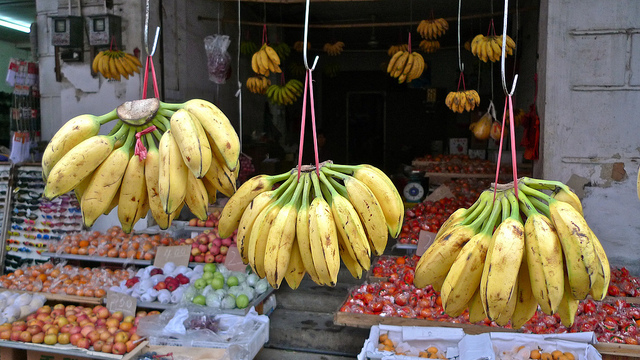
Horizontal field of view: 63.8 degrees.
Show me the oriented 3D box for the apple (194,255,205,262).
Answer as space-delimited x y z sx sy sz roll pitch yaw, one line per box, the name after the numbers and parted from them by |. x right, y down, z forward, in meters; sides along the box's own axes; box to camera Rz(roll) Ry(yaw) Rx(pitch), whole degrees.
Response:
-1.670 1.086 7.079 0.083 0.082 0.085 1 -3 -1 | apple

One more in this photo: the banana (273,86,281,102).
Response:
-0.710 -1.365 8.217 0.058 0.185 0.185 6 41 -16 | banana

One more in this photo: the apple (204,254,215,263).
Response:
-1.522 1.077 7.040 0.101 0.109 0.101 -6 2 -1 | apple

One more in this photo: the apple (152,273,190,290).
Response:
-1.903 1.308 6.622 0.229 0.134 0.437 7 9 43 | apple

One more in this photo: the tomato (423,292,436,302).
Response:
1.391 1.476 6.493 0.146 0.080 0.132 3 7 21 | tomato

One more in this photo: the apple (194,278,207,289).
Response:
-1.517 1.311 6.517 0.111 0.119 0.111 1 2 34 | apple

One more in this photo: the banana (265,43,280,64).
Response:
-0.729 -1.926 7.781 0.107 0.364 0.127 -9 -30 -26 | banana

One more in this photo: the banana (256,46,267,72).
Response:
-0.902 -1.857 7.884 0.112 0.346 0.091 -7 -4 22 | banana

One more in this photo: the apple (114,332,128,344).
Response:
-2.309 1.833 5.965 0.113 0.112 0.108 -8 -12 16 | apple

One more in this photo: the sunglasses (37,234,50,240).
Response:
-4.319 0.889 8.006 0.134 0.094 0.062 6 5 6 | sunglasses

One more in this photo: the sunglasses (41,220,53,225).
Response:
-4.259 0.677 8.002 0.162 0.079 0.057 2 -2 6 | sunglasses

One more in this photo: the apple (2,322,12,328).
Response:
-3.687 1.716 6.072 0.133 0.041 0.052 3 7 20 | apple

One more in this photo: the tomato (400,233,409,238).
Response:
1.273 0.832 7.702 0.081 0.104 0.084 0 -14 4 | tomato

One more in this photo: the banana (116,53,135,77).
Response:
-2.870 -1.693 7.622 0.092 0.353 0.096 -3 38 39 | banana

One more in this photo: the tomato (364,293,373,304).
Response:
0.598 1.485 6.450 0.090 0.115 0.094 0 5 6 | tomato

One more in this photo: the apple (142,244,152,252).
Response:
-2.401 0.948 7.158 0.084 0.077 0.150 4 7 31 | apple

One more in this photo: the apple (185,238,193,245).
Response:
-1.865 0.875 7.300 0.068 0.071 0.081 9 -3 -27 | apple

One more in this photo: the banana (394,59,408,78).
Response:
1.222 -1.708 7.796 0.079 0.315 0.057 18 26 -35 | banana

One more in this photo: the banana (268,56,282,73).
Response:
-0.696 -1.756 7.848 0.070 0.221 0.060 -30 11 46 | banana

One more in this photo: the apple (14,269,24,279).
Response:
-4.123 1.288 7.034 0.096 0.123 0.099 -3 -1 0 | apple

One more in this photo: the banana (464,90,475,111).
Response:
2.219 -1.181 7.626 0.089 0.311 0.070 -32 -38 27 | banana

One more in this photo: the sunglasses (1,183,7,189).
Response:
-4.974 0.099 8.088 0.115 0.088 0.036 3 7 23 | sunglasses

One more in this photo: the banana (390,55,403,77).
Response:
1.149 -1.731 7.895 0.120 0.391 0.091 22 24 -17 | banana

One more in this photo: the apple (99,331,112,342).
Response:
-2.505 1.817 5.985 0.103 0.131 0.104 -2 -4 -16 | apple

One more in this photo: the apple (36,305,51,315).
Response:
-3.397 1.613 6.325 0.149 0.065 0.186 -5 8 -41 | apple

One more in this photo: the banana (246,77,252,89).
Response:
-1.149 -1.597 8.368 0.068 0.136 0.218 -1 7 -13 | banana

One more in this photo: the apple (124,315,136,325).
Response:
-2.323 1.705 6.258 0.095 0.087 0.079 3 -19 15 | apple

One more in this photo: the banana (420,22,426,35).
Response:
1.732 -2.578 8.763 0.074 0.222 0.048 13 13 -27 | banana

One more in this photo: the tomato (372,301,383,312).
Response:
0.699 1.558 6.322 0.108 0.067 0.081 -20 12 -14 | tomato

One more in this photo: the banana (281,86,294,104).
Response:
-0.535 -1.350 8.248 0.094 0.367 0.122 -30 -11 -9 | banana

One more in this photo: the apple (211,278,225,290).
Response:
-1.296 1.304 6.474 0.133 0.138 0.131 -1 5 2 | apple

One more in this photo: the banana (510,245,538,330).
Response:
1.853 0.971 4.728 0.178 0.733 0.234 -6 -3 -15 | banana

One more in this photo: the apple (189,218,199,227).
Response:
-1.904 0.644 7.755 0.118 0.105 0.101 0 -14 -10 | apple

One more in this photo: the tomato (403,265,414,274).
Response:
1.172 1.214 6.917 0.180 0.068 0.141 -3 7 -26 | tomato

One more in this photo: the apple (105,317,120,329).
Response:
-2.487 1.711 6.146 0.127 0.113 0.107 -8 -2 -20 | apple

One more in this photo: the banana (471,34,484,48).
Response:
2.363 -2.101 7.685 0.333 0.092 0.059 -27 22 -32 | banana

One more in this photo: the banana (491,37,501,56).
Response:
2.540 -1.909 7.418 0.096 0.304 0.081 -11 -28 18 | banana

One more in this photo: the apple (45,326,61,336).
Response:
-3.135 1.760 6.011 0.107 0.097 0.097 -5 -27 11 | apple

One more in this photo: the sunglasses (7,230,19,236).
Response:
-4.809 0.836 8.061 0.192 0.088 0.068 6 -3 0 | sunglasses

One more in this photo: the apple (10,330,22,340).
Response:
-3.531 1.799 5.955 0.072 0.060 0.098 12 27 -3 | apple

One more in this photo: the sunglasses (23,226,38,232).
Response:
-4.520 0.771 8.035 0.209 0.086 0.014 1 6 2 | sunglasses

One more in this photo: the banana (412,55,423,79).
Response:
1.520 -1.748 7.860 0.085 0.271 0.228 7 -34 1 | banana
